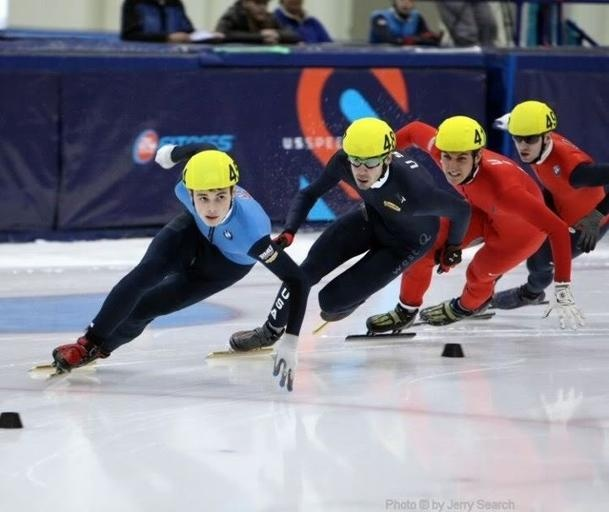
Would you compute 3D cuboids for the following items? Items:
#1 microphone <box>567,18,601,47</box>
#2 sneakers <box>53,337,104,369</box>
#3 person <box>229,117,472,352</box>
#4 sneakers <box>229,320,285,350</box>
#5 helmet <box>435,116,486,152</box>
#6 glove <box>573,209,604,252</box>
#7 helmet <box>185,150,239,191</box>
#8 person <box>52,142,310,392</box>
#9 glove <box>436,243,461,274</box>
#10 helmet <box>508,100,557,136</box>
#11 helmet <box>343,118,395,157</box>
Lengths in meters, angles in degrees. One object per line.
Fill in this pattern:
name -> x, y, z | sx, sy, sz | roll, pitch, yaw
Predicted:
microphone -> 2.583, -2.094, 7.411 | 0.242, 0.290, 0.728 | 4, 11, 17
sneakers -> -0.755, 0.326, 2.650 | 0.166, 0.070, 0.082 | -23, 66, -17
person -> 0.140, -0.112, 3.012 | 0.965, 0.996, 0.455 | -15, 48, -28
sneakers -> -0.188, 0.312, 2.933 | 0.251, 0.106, 0.085 | -4, 54, -3
helmet -> 0.601, -0.464, 3.013 | 0.204, 0.133, 0.152 | -3, 11, -19
glove -> 1.302, -0.106, 3.563 | 0.129, 0.197, 0.050 | 24, 8, -38
helmet -> -0.305, -0.272, 2.520 | 0.163, 0.124, 0.177 | -8, 13, -37
person -> -0.389, 0.022, 2.688 | 0.845, 0.780, 0.436 | 2, 11, 7
glove -> 0.583, 0.012, 3.198 | 0.045, 0.132, 0.075 | -16, 71, -38
helmet -> 0.980, -0.582, 3.368 | 0.177, 0.101, 0.160 | -13, 23, -37
helmet -> 0.228, -0.411, 2.765 | 0.177, 0.138, 0.130 | 1, 11, 2
